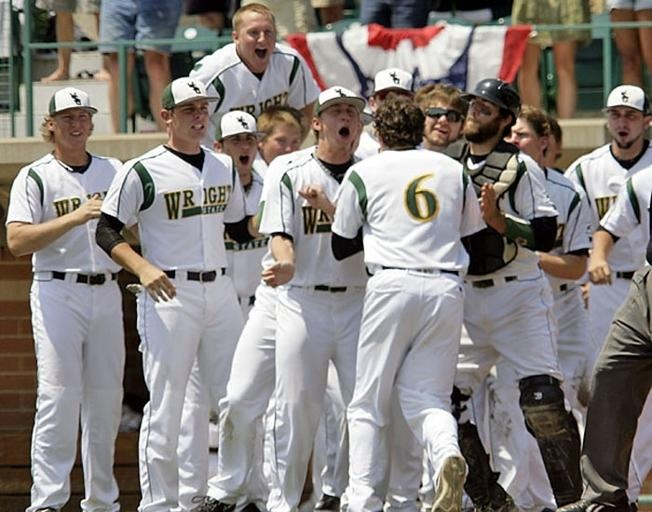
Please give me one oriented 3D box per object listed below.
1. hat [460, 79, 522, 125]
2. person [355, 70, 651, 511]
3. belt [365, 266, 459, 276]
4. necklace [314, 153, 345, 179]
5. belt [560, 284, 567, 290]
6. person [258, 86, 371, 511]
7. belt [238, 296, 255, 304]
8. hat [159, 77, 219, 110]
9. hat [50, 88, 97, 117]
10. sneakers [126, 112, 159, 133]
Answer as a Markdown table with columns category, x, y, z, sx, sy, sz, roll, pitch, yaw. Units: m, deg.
| category | x | y | z | sx | sy | sz | roll | pitch | yaw |
| --- | --- | --- | --- | --- | --- | --- | --- | --- | --- |
| hat | 1.204 | -1.209 | 12.268 | 0.349 | 0.221 | 0.433 | 17 | 0 | 29 |
| person | 1.284 | 0.291 | 12.104 | 1.005 | 3.131 | 0.693 | 1 | 6 | 20 |
| belt | 0.605 | 0.108 | 11.694 | 0.618 | 0.080 | 0.188 | -1 | 5 | -2 |
| necklace | 0.043 | -0.643 | 12.039 | 0.167 | 0.041 | 0.130 | 24 | 27 | 26 |
| belt | 1.873 | 0.255 | 13.317 | 0.049 | 0.044 | 0.012 | -6 | 14 | -26 |
| person | -0.070 | 0.321 | 11.960 | 0.739 | 3.026 | 0.416 | -2 | 5 | -12 |
| belt | -0.631 | 0.365 | 13.489 | 0.084 | 0.066 | 0.087 | 2 | -6 | 6 |
| hat | -1.020 | -1.206 | 12.481 | 0.365 | 0.246 | 0.484 | -10 | 9 | -42 |
| hat | -1.956 | -1.201 | 12.937 | 0.229 | 0.160 | 0.295 | -5 | 1 | -43 |
| sneakers | -1.755 | -1.266 | 16.064 | 0.108 | 0.274 | 0.524 | 1 | 1 | 19 |
